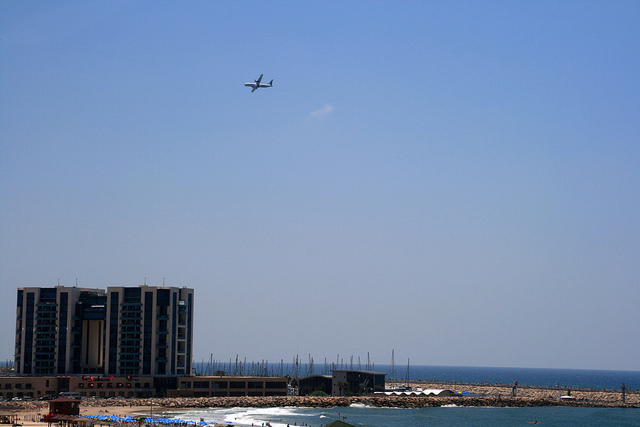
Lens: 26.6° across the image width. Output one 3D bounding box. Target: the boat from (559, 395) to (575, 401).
[{"bbox_3d":[115.483,86.990,632.622,6.400,3.290,11.218,-3,-14,9],"label":"boat"}]
